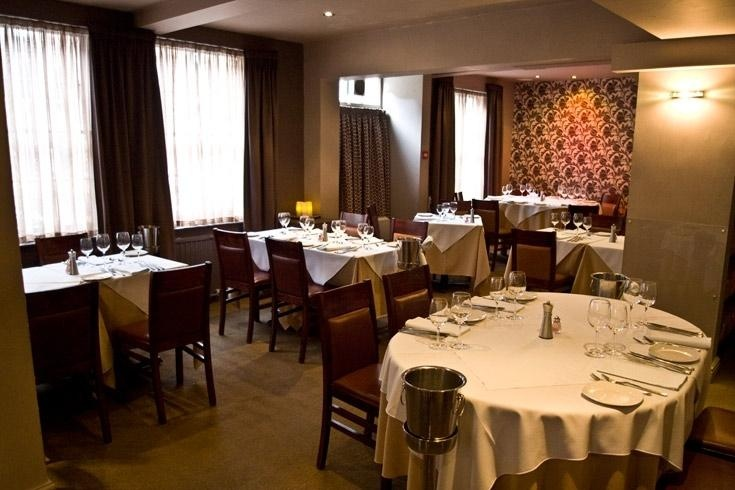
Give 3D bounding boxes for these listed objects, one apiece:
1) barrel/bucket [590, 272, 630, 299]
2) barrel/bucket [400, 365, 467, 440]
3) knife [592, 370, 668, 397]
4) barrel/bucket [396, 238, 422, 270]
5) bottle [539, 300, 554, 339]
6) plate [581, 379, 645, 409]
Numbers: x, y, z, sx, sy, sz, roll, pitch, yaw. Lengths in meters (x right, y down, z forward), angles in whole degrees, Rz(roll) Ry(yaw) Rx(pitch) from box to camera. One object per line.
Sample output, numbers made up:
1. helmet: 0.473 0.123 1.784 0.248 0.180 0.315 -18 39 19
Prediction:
1. barrel/bucket: 1.605 0.260 3.668 0.216 0.190 0.249 0 0 2
2. barrel/bucket: 0.320 0.737 2.676 0.303 0.252 0.319 2 7 0
3. knife: 1.397 0.740 2.944 0.404 0.026 0.127 13 33 27
4. barrel/bucket: 0.385 0.063 5.018 0.296 0.376 0.232 2 5 13
5. bottle: 1.118 0.449 3.420 0.077 0.228 0.177 3 11 18
6. plate: 1.279 0.780 2.859 0.302 0.072 0.188 3 11 20
